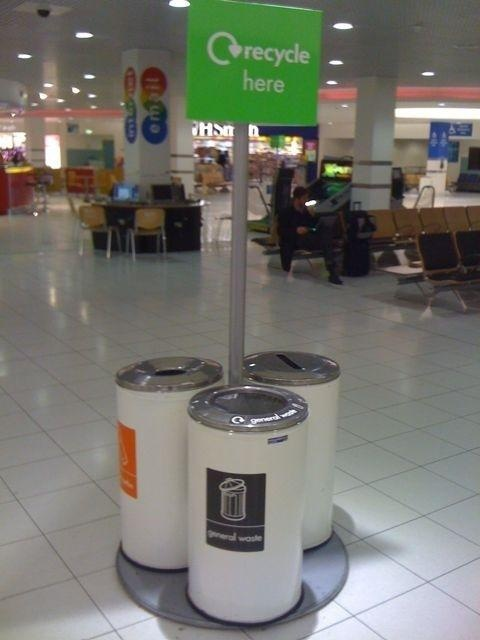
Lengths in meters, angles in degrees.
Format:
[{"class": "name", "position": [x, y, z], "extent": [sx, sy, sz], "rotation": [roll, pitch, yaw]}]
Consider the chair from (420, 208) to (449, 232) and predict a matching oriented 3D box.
[{"class": "chair", "position": [3.410, -1.787, 9.667], "extent": [0.596, 0.405, 0.337], "rotation": [-3, 12, -15]}]

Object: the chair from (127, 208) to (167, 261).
[{"class": "chair", "position": [-1.655, -1.580, 9.716], "extent": [0.673, 0.924, 0.737], "rotation": [-7, 25, -26]}]

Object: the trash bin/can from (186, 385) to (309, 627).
[{"class": "trash bin/can", "position": [0.015, 0.597, 1.649], "extent": [0.351, 0.682, 0.211], "rotation": [2, 12, 7]}]

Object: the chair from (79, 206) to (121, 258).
[{"class": "chair", "position": [-2.602, -1.677, 10.056], "extent": [0.642, 0.944, 0.681], "rotation": [8, 22, 13]}]

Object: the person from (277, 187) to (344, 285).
[{"class": "person", "position": [1.104, -1.356, 8.569], "extent": [1.031, 1.419, 0.465], "rotation": [8, 15, 33]}]

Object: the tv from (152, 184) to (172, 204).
[{"class": "tv", "position": [-1.493, -2.439, 10.410], "extent": [0.110, 0.324, 0.478], "rotation": [10, 15, 39]}]

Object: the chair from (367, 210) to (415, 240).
[{"class": "chair", "position": [2.607, -1.649, 9.487], "extent": [0.656, 0.429, 0.342], "rotation": [-8, 37, -16]}]
